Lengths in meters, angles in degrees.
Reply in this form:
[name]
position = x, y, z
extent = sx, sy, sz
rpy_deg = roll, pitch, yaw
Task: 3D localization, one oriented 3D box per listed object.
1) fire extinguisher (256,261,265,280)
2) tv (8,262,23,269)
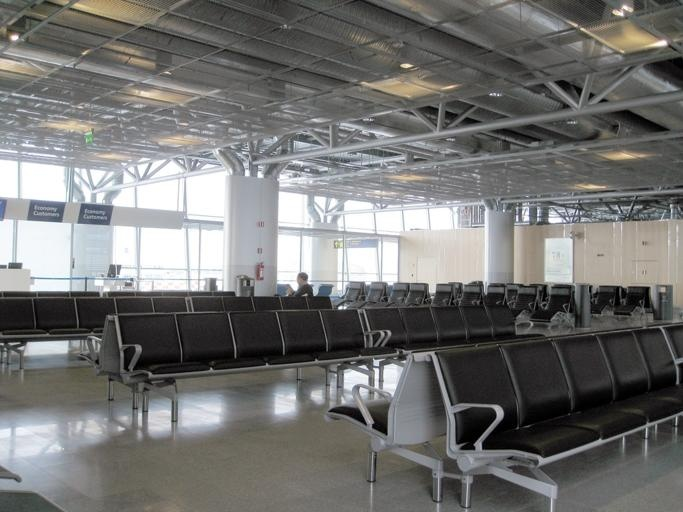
[fire extinguisher]
position = -2.430, 0.444, 15.502
extent = 0.077, 0.375, 0.300
rpy_deg = -4, -2, 42
[tv]
position = -9.312, 0.264, 14.704
extent = 0.277, 0.121, 0.127
rpy_deg = 1, -5, -27
